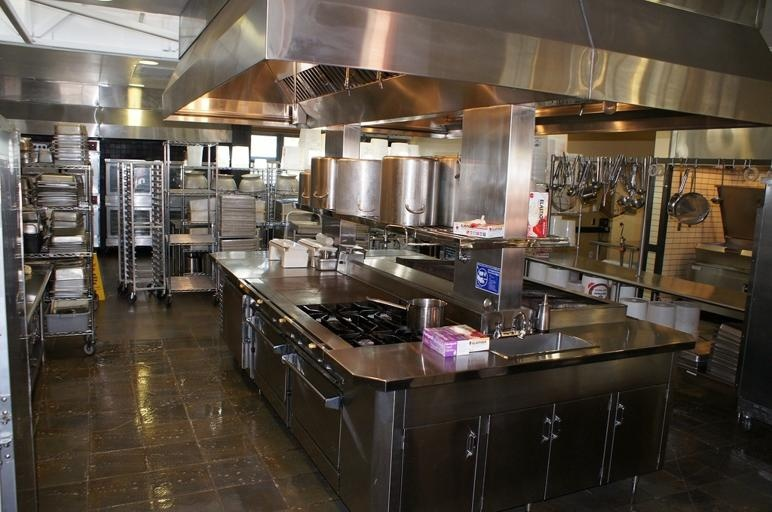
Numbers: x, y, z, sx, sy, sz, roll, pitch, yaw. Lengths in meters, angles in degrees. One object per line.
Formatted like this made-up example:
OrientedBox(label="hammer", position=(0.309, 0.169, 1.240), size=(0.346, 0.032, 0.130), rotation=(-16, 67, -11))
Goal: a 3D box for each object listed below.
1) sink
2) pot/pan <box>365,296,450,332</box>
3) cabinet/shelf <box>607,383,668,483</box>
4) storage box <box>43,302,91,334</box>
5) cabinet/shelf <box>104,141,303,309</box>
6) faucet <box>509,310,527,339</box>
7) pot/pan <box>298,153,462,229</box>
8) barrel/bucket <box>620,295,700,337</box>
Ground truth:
OrientedBox(label="sink", position=(0.966, 0.588, 3.619), size=(0.688, 0.129, 0.277), rotation=(0, 12, -21))
OrientedBox(label="pot/pan", position=(0.152, 0.395, 3.951), size=(0.520, 0.173, 0.206), rotation=(0, -1, 25))
OrientedBox(label="cabinet/shelf", position=(1.823, 1.180, 4.002), size=(0.283, 0.432, 0.368), rotation=(-3, -20, 38))
OrientedBox(label="storage box", position=(-3.279, 0.624, 5.887), size=(0.305, 0.144, 0.446), rotation=(-1, 5, -26))
OrientedBox(label="cabinet/shelf", position=(-2.549, -0.435, 7.866), size=(3.105, 2.290, 1.710), rotation=(-2, 4, -32))
OrientedBox(label="faucet", position=(0.866, 0.436, 3.725), size=(0.107, 0.156, 0.039), rotation=(4, -2, -11))
OrientedBox(label="pot/pan", position=(-0.037, -0.502, 4.138), size=(0.460, 0.482, 1.145), rotation=(-6, 15, -39))
OrientedBox(label="barrel/bucket", position=(2.761, 0.605, 5.823), size=(0.617, 0.274, 0.609), rotation=(4, 11, -1))
